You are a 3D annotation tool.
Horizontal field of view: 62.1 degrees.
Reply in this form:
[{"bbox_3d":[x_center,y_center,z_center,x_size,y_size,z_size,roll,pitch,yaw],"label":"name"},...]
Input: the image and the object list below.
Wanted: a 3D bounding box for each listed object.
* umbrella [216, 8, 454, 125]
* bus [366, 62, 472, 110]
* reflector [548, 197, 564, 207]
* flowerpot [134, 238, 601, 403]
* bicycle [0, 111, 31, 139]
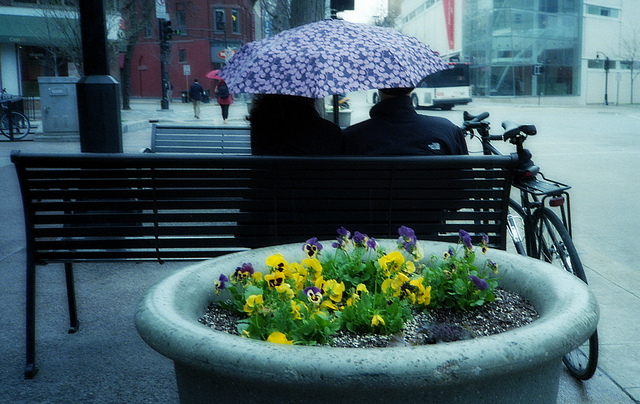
[{"bbox_3d":[0.170,-1.416,5.282,1.866,1.213,1.833,0,18,5],"label":"umbrella"},{"bbox_3d":[6.882,-8.261,37.685,2.967,3.157,8.458,-8,15,-22],"label":"bus"},{"bbox_3d":[1.820,0.001,4.096,0.099,0.095,0.276,4,11,23],"label":"reflector"},{"bbox_3d":[0.234,0.659,2.643,2.177,0.592,0.967,1,10,9],"label":"flowerpot"},{"bbox_3d":[-10.235,-2.614,17.807,0.858,0.876,2.439,-6,12,-28],"label":"bicycle"}]
